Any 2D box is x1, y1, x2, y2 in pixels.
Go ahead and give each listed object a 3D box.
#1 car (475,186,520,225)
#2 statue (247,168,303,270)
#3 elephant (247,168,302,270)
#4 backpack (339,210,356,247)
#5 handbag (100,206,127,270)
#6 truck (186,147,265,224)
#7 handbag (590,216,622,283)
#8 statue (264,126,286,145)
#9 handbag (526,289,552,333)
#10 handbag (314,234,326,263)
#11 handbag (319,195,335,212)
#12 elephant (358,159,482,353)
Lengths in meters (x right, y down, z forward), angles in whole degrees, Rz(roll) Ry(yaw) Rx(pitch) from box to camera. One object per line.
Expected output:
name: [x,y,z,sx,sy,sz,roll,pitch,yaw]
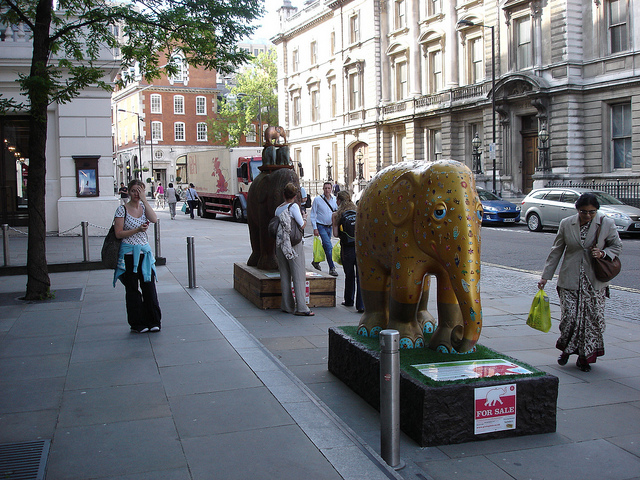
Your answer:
car: [8.653,-1.502,26.351,1.643,1.389,3.253,1,9,15]
statue: [-0.862,-0.455,10.714,0.904,1.919,2.183,-6,4,-28]
elephant: [-0.927,-0.419,10.846,0.854,1.991,2.386,-3,2,-23]
backpack: [0.482,-0.180,9.161,0.243,0.627,0.511,-6,9,-32]
handbag: [-2.964,0.090,7.573,0.313,0.671,0.231,6,10,39]
truck: [-5.435,-3.376,32.741,2.479,4.098,7.901,-7,8,-37]
handbag: [3.296,0.130,6.233,0.314,0.731,0.265,4,9,29]
statue: [-0.913,-2.045,10.672,0.502,0.415,0.255,-7,14,-32]
handbag: [2.587,0.837,6.370,0.250,0.526,0.326,3,9,24]
handbag: [-0.022,0.201,11.279,0.213,0.590,0.474,-1,8,0]
handbag: [0.176,-0.827,12.730,0.061,0.431,0.046,-38,-1,-15]
elephant: [1.050,0.164,5.585,0.639,1.935,1.494,-6,10,-34]
